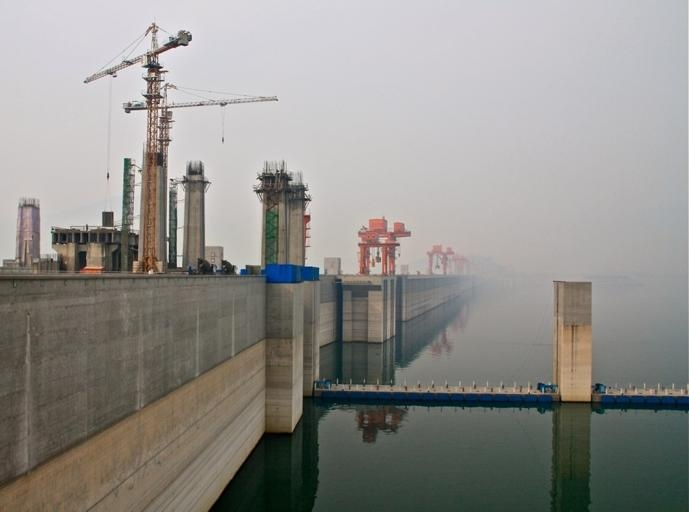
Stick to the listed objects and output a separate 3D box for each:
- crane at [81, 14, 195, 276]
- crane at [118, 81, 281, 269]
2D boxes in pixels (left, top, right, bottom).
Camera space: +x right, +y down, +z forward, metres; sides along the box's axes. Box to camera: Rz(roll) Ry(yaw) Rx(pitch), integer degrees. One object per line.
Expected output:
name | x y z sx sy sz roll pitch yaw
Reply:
crane | -22.491 -12.072 102.899 18.671 28.872 4.161 -11 -13 34
crane | -17.309 -8.493 101.060 18.929 21.582 4.154 2 3 24
